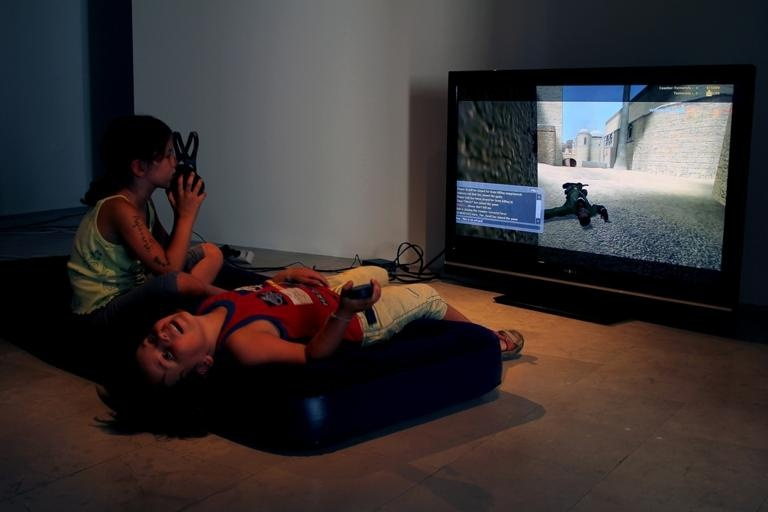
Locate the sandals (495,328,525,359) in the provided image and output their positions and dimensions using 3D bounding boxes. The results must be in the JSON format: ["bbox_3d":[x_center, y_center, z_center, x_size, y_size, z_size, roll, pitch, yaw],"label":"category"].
[{"bbox_3d":[0.585,0.407,2.443,0.081,0.061,0.193,-1,2,1],"label":"sandals"}]

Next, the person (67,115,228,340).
[{"bbox_3d":[-0.970,-0.143,2.415,0.812,0.916,0.672,-1,16,-28],"label":"person"}]

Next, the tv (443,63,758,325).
[{"bbox_3d":[1.206,-0.337,2.849,1.395,1.032,0.378,8,11,34],"label":"tv"}]
